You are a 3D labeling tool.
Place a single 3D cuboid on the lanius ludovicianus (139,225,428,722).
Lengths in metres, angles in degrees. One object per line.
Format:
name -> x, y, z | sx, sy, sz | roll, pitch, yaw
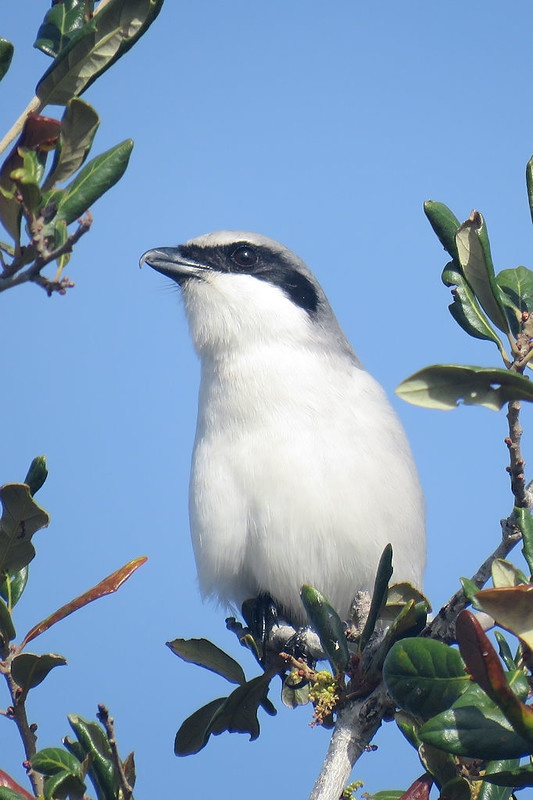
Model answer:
lanius ludovicianus -> 0.096, 0.178, 3.858 | 0.490, 0.937, 0.887 | -20, -36, 24
